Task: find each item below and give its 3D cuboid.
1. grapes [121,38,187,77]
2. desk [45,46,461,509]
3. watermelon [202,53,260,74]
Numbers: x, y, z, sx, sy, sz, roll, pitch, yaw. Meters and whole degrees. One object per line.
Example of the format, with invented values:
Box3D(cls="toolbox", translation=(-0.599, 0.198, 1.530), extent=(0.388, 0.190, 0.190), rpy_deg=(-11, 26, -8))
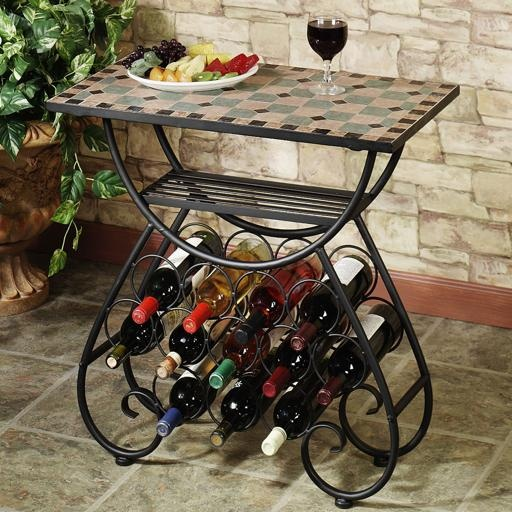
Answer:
Box3D(cls="grapes", translation=(-0.298, -0.567, 1.562), extent=(0.200, 0.106, 0.201), rpy_deg=(15, 31, 34))
Box3D(cls="desk", translation=(0.022, 0.115, 1.633), extent=(0.973, 1.311, 0.723), rpy_deg=(13, 38, 28))
Box3D(cls="watermelon", translation=(-0.057, -0.507, 1.481), extent=(0.113, 0.027, 0.088), rpy_deg=(-6, 17, 18))
